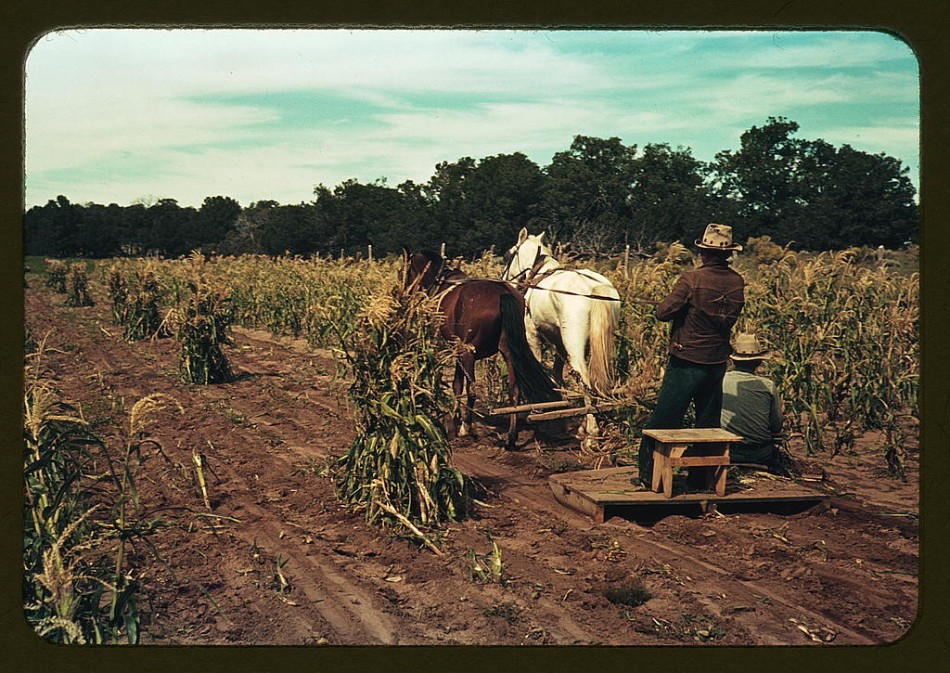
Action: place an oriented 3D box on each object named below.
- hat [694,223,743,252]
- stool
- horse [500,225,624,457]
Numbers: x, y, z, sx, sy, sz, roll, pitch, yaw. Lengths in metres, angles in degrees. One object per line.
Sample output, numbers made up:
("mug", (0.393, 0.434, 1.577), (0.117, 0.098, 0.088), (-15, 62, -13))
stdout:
("hat", (2.680, -1.064, 9.069), (0.378, 0.150, 0.418), (8, 13, 20))
("stool", (2.207, 1.311, 8.508), (0.847, 0.535, 0.669), (0, -2, -6))
("horse", (1.162, -0.191, 11.820), (0.966, 2.465, 3.147), (-3, 15, -21))
